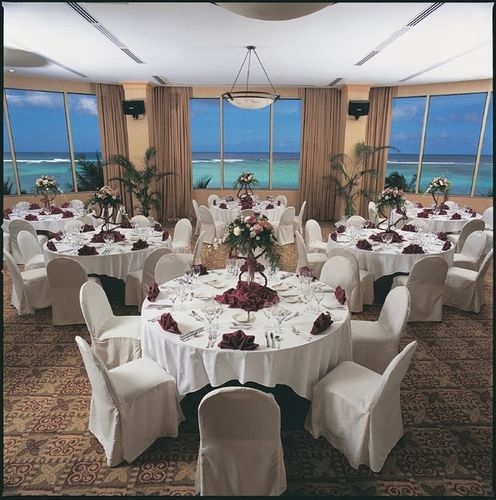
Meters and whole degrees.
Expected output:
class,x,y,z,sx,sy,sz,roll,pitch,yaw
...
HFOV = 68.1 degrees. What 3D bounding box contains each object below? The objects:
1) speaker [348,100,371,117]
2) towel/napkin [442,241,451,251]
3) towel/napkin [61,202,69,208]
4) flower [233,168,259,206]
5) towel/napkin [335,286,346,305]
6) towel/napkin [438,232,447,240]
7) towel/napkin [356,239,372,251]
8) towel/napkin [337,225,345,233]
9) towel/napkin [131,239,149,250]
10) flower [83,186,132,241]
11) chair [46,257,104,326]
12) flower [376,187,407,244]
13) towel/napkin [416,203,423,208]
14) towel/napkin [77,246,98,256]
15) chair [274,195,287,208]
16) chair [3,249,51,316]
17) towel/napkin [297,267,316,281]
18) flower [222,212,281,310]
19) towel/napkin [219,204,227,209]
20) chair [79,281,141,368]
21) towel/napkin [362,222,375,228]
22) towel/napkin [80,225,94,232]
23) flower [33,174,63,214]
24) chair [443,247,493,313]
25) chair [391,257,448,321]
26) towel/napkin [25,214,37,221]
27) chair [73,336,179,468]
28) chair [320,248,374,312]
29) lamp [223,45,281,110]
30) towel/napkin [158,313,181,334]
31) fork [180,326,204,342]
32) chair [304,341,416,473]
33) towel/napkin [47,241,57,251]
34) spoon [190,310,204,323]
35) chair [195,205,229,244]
class,x,y,z,sx,sy,sz,roll,pitch,yaw
speaker,2.732,-3.522,9.074,0.483,0.459,0.233,1,31,5
towel/napkin,2.546,-0.058,4.703,0.082,0.055,0.249,1,20,26
towel/napkin,-3.682,-0.921,7.481,0.184,0.053,0.177,7,25,19
flower,-0.039,-1.509,8.663,0.428,0.606,0.383,6,13,28
towel/napkin,0.771,0.378,3.037,0.044,0.121,0.131,0,-2,-15
towel/napkin,2.715,-0.191,5.100,0.095,0.089,0.121,3,11,11
towel/napkin,1.463,-0.063,4.622,0.153,0.057,0.147,5,20,12
towel/napkin,1.392,-0.316,5.493,0.098,0.038,0.127,1,19,8
towel/napkin,-1.360,-0.069,4.639,0.145,0.050,0.140,-7,17,-18
flower,-1.932,-0.494,5.063,0.561,0.721,0.550,-3,-3,-33
chair,-1.944,0.394,4.261,0.525,0.826,0.520,7,20,2
flower,1.976,-0.614,5.078,0.284,0.486,0.257,5,-14,22
towel/napkin,3.765,-0.986,8.072,0.137,0.034,0.125,11,28,21
towel/napkin,-1.891,-0.003,4.364,0.144,0.059,0.138,-3,22,-15
chair,0.838,-1.214,9.132,0.357,0.469,0.402,0,13,-1
chair,-2.747,0.427,4.612,0.564,0.738,0.550,-15,31,-36
towel/napkin,0.502,0.228,3.102,0.183,0.156,0.135,0,20,1
flower,0.039,0.076,2.971,0.572,0.627,0.570,-2,-15,22
towel/napkin,-0.545,-0.975,8.114,0.129,0.053,0.164,2,18,-1
chair,-1.229,0.673,3.298,0.574,0.782,0.544,-1,30,-4
towel/napkin,1.931,-0.396,5.877,0.116,0.056,0.157,3,10,2
towel/napkin,-2.388,-0.324,5.448,0.139,0.044,0.135,6,16,16
flower,-3.929,-1.143,7.136,0.332,0.423,0.297,8,1,26
chair,2.802,0.404,4.707,0.567,0.756,0.560,19,31,39
chair,2.021,0.423,4.340,0.545,0.768,0.534,0,7,-11
towel/napkin,-3.842,-0.563,6.539,0.150,0.063,0.145,4,5,5
chair,-0.791,0.941,2.548,0.637,0.756,0.686,6,14,27
chair,1.013,0.336,3.991,0.559,0.593,0.493,-9,13,-17
lamp,0.078,-2.907,6.177,0.942,0.917,0.898,4,21,10
towel/napkin,-0.548,0.513,2.583,0.105,0.095,0.267,-13,17,-37
fork,-0.376,0.568,2.501,0.176,0.008,0.051,-13,32,-41
chair,0.787,0.937,2.492,0.554,0.738,0.597,-7,16,-34
towel/napkin,-2.438,-0.055,4.584,0.098,0.048,0.181,0,22,-30
spoon,-0.385,0.497,2.766,0.044,0.021,0.145,-4,10,-26
chair,-0.758,-0.648,7.978,0.572,0.774,0.553,19,30,24
